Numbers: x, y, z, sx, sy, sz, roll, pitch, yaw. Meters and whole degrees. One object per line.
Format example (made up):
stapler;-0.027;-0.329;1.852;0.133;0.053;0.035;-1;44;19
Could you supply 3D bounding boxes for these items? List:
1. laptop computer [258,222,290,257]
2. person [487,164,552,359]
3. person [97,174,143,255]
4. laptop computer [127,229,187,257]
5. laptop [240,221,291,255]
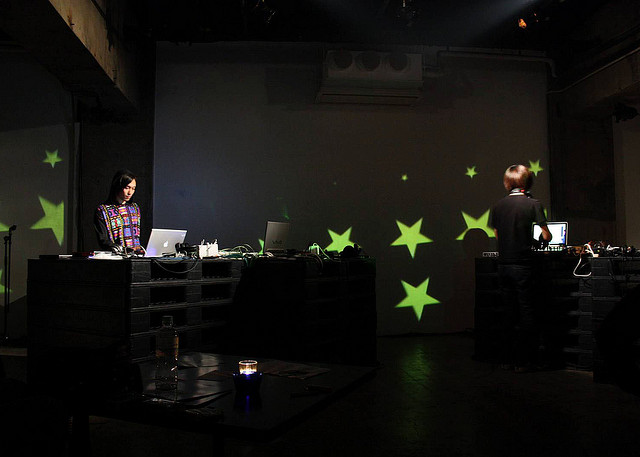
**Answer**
laptop computer;-0.484;0.069;5.387;0.350;0.335;0.277;-2;-13;34
person;2.186;0.334;5.637;0.621;1.988;0.687;-1;3;-4
person;-2.036;-0.178;5.373;0.410;0.727;0.274;-2;4;-29
laptop computer;-1.468;0.090;4.933;0.244;0.201;0.315;4;0;30
laptop;-0.421;0.079;5.283;0.527;0.364;0.385;1;-7;-33
